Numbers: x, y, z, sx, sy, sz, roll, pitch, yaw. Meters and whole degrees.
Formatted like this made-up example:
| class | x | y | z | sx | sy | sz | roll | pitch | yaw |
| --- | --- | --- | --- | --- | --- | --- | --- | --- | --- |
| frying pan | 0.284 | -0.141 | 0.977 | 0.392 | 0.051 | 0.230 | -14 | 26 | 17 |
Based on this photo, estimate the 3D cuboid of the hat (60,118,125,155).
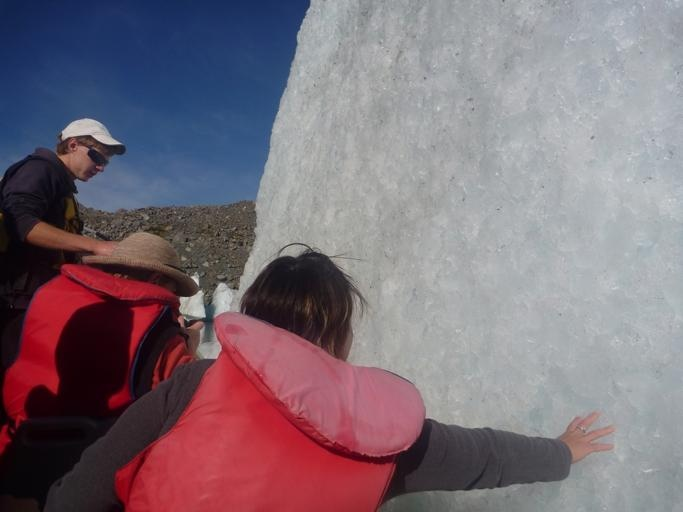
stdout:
| class | x | y | z | sx | sy | sz | roll | pitch | yaw |
| --- | --- | --- | --- | --- | --- | --- | --- | --- | --- |
| hat | -1.582 | -0.762 | 3.320 | 0.315 | 0.177 | 0.194 | 3 | -4 | -41 |

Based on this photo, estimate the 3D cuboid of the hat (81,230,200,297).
| class | x | y | z | sx | sy | sz | roll | pitch | yaw |
| --- | --- | --- | --- | --- | --- | --- | --- | --- | --- |
| hat | -1.001 | 0.020 | 2.768 | 0.521 | 0.240 | 0.486 | 6 | -7 | -19 |
